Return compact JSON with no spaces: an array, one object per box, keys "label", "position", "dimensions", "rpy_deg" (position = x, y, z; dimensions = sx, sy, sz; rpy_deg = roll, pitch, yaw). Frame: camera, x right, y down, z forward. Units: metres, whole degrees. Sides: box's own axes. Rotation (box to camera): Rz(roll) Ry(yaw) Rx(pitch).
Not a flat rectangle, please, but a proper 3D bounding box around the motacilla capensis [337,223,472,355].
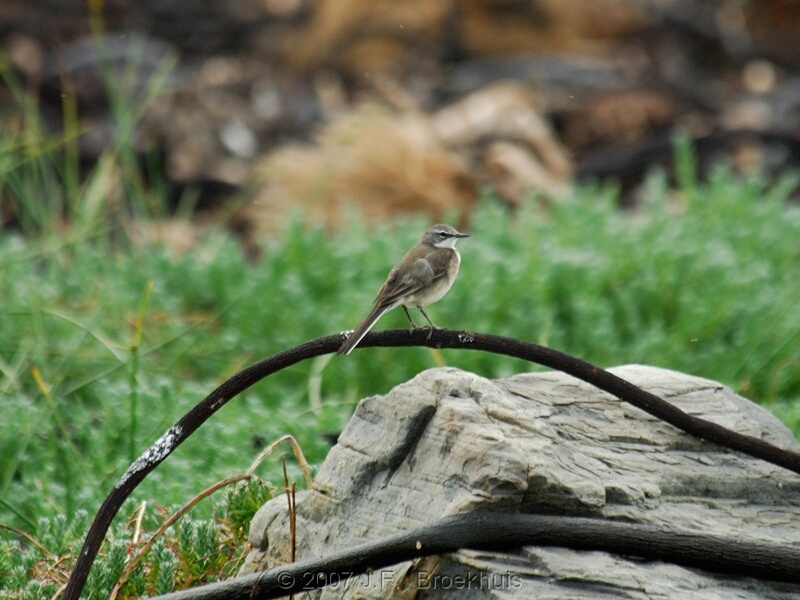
[{"label":"motacilla capensis","position":[-0.008,-0.058,6.345],"dimensions":[0.727,0.463,0.218],"rpy_deg":[-13,4,-32]}]
